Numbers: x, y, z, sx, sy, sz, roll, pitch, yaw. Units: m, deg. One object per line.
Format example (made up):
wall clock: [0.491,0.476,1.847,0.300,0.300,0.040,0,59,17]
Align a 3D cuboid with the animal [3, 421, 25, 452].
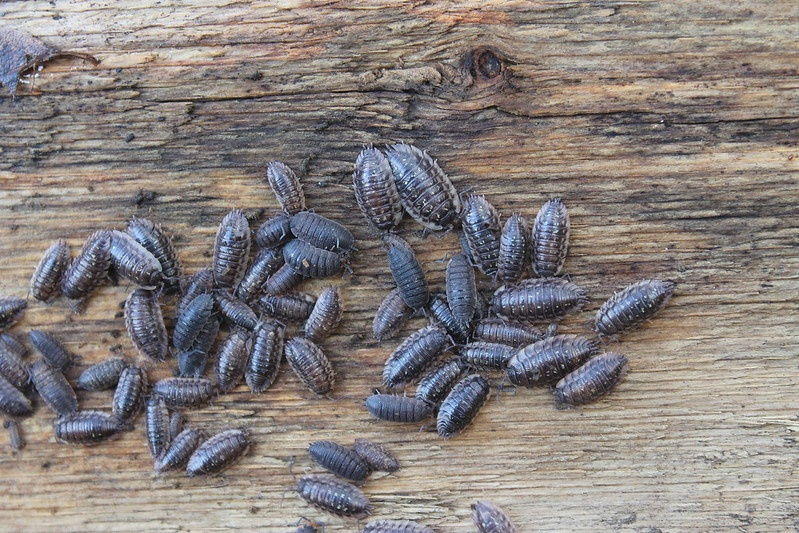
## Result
animal: [-5.385,2.365,12.843,0.292,0.168,0.407,-9,79,-44]
